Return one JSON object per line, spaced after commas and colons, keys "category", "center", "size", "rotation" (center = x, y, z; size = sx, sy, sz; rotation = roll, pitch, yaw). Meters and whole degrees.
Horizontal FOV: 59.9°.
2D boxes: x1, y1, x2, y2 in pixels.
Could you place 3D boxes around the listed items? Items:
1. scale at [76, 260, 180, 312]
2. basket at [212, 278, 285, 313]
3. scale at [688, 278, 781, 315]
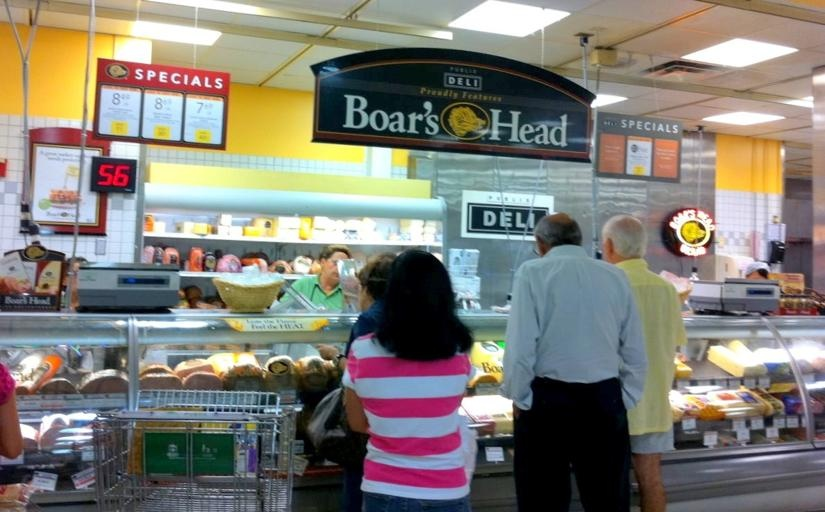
{"category": "scale", "center": [-1.856, 0.199, 4.645], "size": [0.581, 0.236, 0.372], "rotation": [1, -4, -14]}
{"category": "basket", "center": [-1.126, 0.264, 4.921], "size": [0.492, 0.178, 0.254], "rotation": [1, -1, -8]}
{"category": "scale", "center": [2.651, 0.336, 5.936], "size": [0.578, 0.221, 0.553], "rotation": [2, -2, -5]}
